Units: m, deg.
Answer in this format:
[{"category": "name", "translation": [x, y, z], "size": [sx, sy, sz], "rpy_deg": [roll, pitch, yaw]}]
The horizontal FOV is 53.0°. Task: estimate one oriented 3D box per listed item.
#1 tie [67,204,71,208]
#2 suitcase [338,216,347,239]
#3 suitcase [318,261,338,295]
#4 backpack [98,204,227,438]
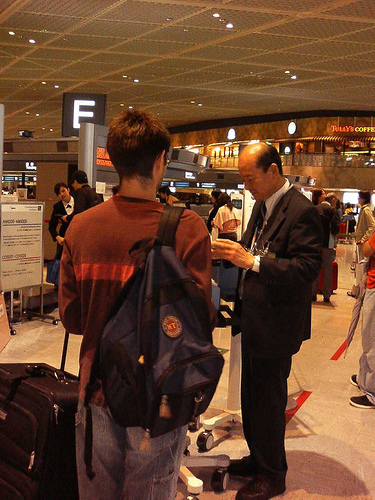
[{"category": "tie", "translation": [-2.013, -0.732, 6.347], "size": [0.038, 0.064, 0.014], "rpy_deg": [1, -3, 1]}, {"category": "suitcase", "translation": [7.890, -1.079, 19.105], "size": [0.365, 1.057, 3.135], "rpy_deg": [3, 3, 22]}, {"category": "suitcase", "translation": [2.689, 0.540, 7.200], "size": [0.331, 0.691, 1.141], "rpy_deg": [3, 3, 22]}, {"category": "backpack", "translation": [-0.001, 0.085, 0.862], "size": [0.263, 0.567, 0.335], "rpy_deg": [1, 4, 38]}]
